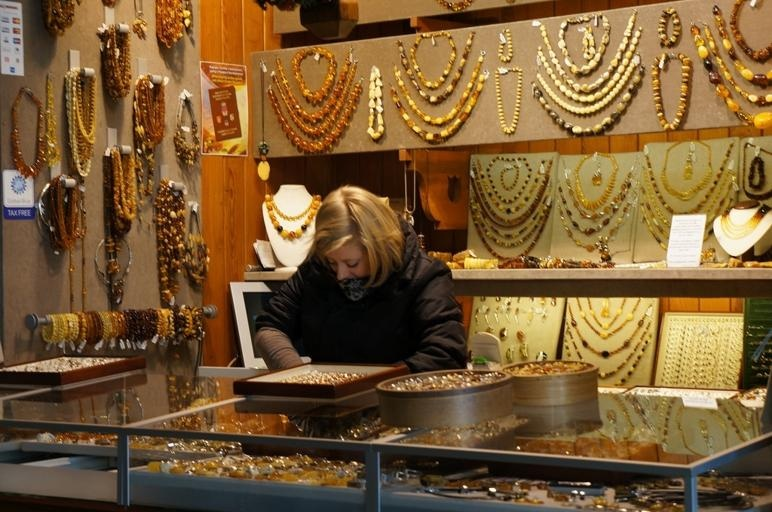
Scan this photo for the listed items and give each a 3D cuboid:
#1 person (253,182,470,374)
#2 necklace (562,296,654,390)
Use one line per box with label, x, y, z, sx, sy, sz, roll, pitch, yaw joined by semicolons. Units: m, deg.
person;-0.125;0.175;2.753;0.827;0.866;0.675;6;15;28
necklace;1.144;0.435;3.527;0.394;0.581;0.060;0;-14;19
